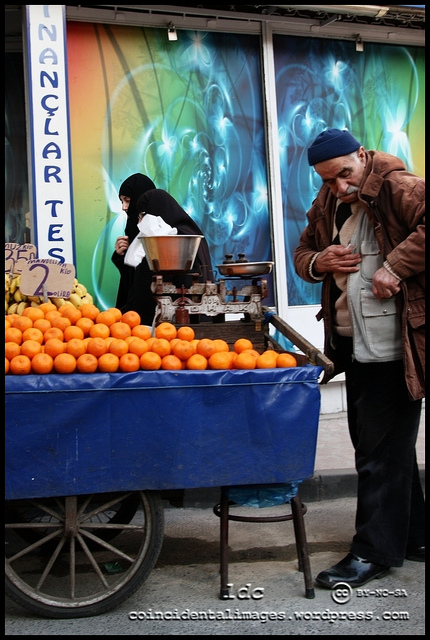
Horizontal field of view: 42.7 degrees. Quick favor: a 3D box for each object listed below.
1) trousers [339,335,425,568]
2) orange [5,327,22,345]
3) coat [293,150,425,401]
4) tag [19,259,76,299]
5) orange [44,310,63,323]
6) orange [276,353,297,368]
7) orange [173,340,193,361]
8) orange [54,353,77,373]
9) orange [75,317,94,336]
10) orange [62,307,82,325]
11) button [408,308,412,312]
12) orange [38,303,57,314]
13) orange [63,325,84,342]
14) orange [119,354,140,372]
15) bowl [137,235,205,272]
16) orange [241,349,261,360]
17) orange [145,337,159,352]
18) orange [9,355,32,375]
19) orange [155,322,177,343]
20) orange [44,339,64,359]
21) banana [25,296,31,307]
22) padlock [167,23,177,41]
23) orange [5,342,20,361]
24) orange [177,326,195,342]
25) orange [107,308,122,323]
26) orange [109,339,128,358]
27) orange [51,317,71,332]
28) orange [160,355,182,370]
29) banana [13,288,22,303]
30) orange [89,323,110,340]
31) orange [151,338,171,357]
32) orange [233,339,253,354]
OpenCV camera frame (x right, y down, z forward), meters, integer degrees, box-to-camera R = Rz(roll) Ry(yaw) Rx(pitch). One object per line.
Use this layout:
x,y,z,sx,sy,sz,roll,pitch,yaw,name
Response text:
0.741,0.646,2.651,0.457,1.046,0.476,15,15,16,trousers
-0.824,0.067,2.257,0.066,0.058,0.063,-2,8,-14,orange
0.668,-0.226,2.597,0.386,1.172,0.775,1,-4,-17,coat
-0.839,-0.214,2.761,0.255,0.201,0.150,1,-4,-15,tag
-0.739,-0.017,2.517,0.058,0.050,0.055,9,5,4,orange
0.308,0.180,2.392,0.065,0.057,0.064,-10,-15,12,orange
-0.132,0.127,2.287,0.076,0.070,0.073,0,10,2,orange
-0.585,0.169,2.141,0.077,0.069,0.070,-3,-2,-14,orange
-0.570,0.018,2.448,0.078,0.071,0.076,-19,12,5,orange
-0.648,-0.016,2.484,0.080,0.086,0.074,0,-5,-20,orange
0.846,-0.044,2.389,0.017,0.014,0.003,2,-4,-27,button
-0.809,-0.055,2.641,0.065,0.056,0.063,1,4,-34,orange
-0.597,0.059,2.334,0.066,0.065,0.068,0,-2,11,orange
-0.338,0.171,2.176,0.070,0.064,0.068,-9,28,-25,orange
-0.237,-0.330,2.714,0.355,0.162,0.342,-1,-4,0,bowl
0.155,0.153,2.413,0.043,0.038,0.041,-2,6,-31,orange
-0.268,0.104,2.346,0.052,0.047,0.050,0,-9,6,orange
-0.743,0.173,2.100,0.073,0.069,0.069,-1,33,-8,orange
-0.220,0.055,2.481,0.080,0.077,0.076,-23,-28,-23,orange
-0.643,0.115,2.192,0.078,0.074,0.074,3,-1,19,orange
-1.041,-0.099,3.065,0.036,0.064,0.021,-13,-12,-18,banana
-0.409,-2.745,5.254,0.091,0.174,0.129,0,-4,-5,padlock
-0.801,0.120,2.159,0.060,0.068,0.060,3,0,23,orange
-0.133,0.061,2.471,0.065,0.068,0.079,-1,-4,16,orange
-0.466,-0.023,2.597,0.065,0.070,0.063,-3,-1,-1,orange
-0.392,0.120,2.241,0.067,0.062,0.064,-2,5,6,orange
-0.672,0.021,2.409,0.068,0.059,0.063,-1,-7,5,orange
-0.182,0.177,2.255,0.063,0.057,0.061,-7,-4,1,orange
-1.095,-0.131,3.049,0.048,0.058,0.034,4,-14,-44,banana
-0.504,0.048,2.390,0.066,0.063,0.064,-20,57,-30,orange
-0.217,0.115,2.317,0.069,0.069,0.067,-25,35,19,orange
0.127,0.115,2.527,0.069,0.065,0.067,-13,3,5,orange
